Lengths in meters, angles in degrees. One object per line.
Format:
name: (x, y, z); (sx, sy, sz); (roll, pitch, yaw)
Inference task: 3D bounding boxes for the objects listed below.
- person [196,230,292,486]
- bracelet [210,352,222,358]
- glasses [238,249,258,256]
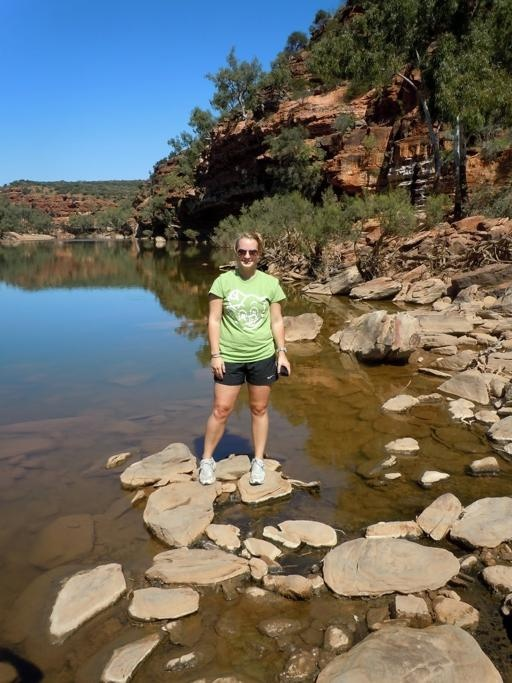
person: (-0.090, 0.139, 3.708); (0.624, 1.736, 0.470); (-1, 14, -6)
bracelet: (-0.266, 0.090, 3.618); (0.059, 0.037, 0.040); (-2, 14, -10)
glasses: (-0.058, -0.582, 3.535); (0.113, 0.049, 0.037); (-1, 14, -5)
